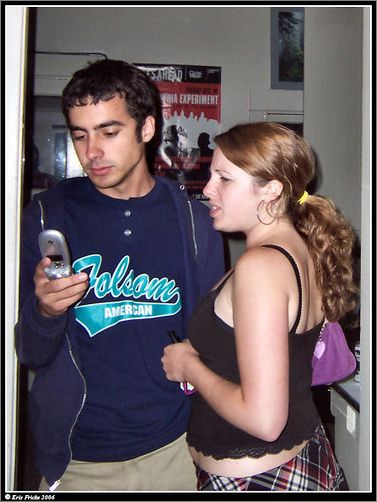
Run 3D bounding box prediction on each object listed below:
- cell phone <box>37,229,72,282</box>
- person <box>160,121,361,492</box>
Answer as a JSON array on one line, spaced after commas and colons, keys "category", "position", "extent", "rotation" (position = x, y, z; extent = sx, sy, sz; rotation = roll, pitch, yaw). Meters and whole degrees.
[{"category": "cell phone", "position": [-0.362, 0.011, 1.134], "extent": [0.082, 0.166, 0.039], "rotation": [-3, 41, -4]}, {"category": "person", "position": [0.204, 0.174, 1.207], "extent": [0.528, 1.095, 0.608], "rotation": [4, 10, 22]}]
